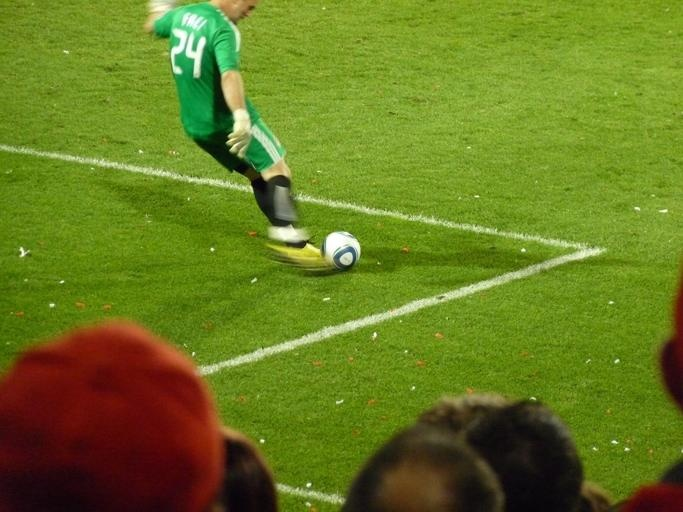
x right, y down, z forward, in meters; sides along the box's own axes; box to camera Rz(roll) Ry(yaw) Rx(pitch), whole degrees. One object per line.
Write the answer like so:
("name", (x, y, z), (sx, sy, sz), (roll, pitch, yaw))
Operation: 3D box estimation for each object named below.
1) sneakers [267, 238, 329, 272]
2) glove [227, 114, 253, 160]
("sneakers", (-0.263, -0.013, 6.917), (0.452, 0.183, 0.159), (14, 20, 0))
("glove", (-0.656, -0.792, 6.595), (0.081, 0.250, 0.190), (1, 31, -8))
